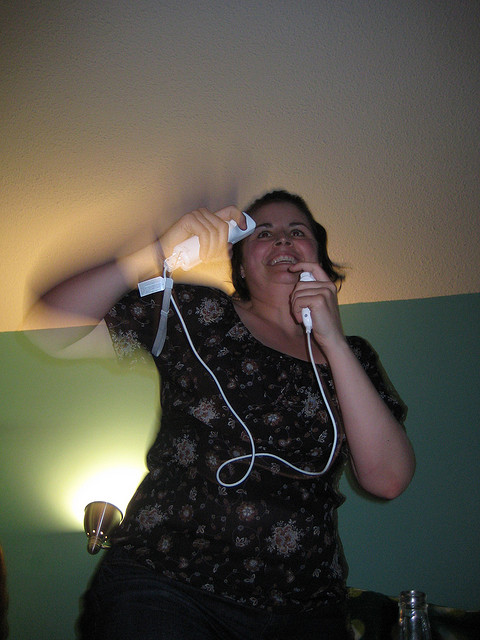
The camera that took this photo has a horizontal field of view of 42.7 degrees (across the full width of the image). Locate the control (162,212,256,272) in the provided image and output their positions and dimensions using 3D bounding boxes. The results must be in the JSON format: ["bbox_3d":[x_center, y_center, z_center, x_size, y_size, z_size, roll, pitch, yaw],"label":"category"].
[{"bbox_3d":[-0.090,-0.156,1.342,0.171,0.162,0.130,8,96,49],"label":"control"}]

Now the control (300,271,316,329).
[{"bbox_3d":[0.144,-0.041,1.256,0.035,0.028,0.107,0,100,17],"label":"control"}]

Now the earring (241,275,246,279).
[{"bbox_3d":[0.010,-0.114,1.648,0.015,0.004,0.013,1,94,28],"label":"earring"}]

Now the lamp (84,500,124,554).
[{"bbox_3d":[-0.371,0.572,1.690,0.122,0.118,0.123,2,74,-1],"label":"lamp"}]
